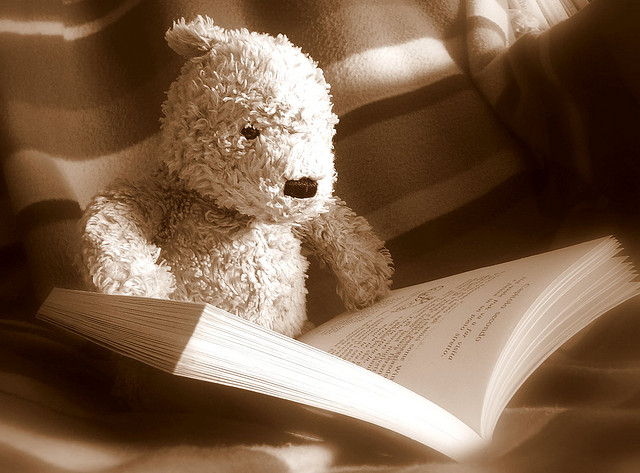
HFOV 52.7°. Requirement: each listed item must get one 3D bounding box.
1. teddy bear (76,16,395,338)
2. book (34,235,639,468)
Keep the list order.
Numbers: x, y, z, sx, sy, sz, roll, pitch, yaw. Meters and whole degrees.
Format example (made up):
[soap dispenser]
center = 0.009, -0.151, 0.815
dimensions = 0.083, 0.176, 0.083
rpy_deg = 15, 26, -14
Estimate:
[teddy bear]
center = -0.158, -0.065, 1.267
dimensions = 0.628, 0.605, 0.449
rpy_deg = -1, 16, -36
[book]
center = 0.047, 0.134, 1.029
dimensions = 0.963, 0.327, 0.416
rpy_deg = 5, 4, 3
